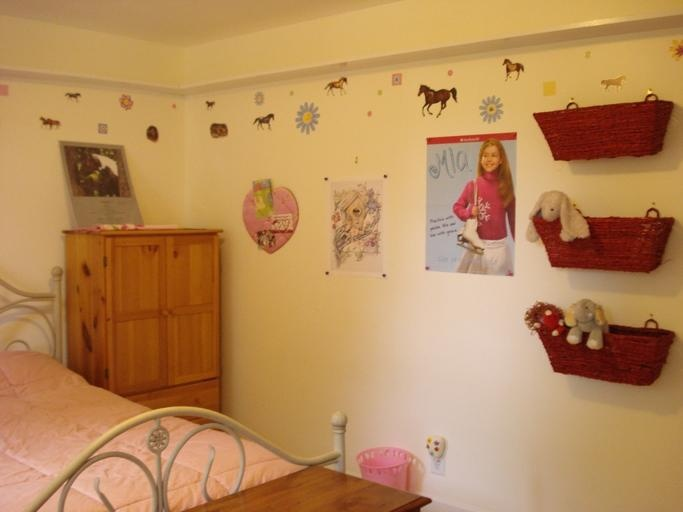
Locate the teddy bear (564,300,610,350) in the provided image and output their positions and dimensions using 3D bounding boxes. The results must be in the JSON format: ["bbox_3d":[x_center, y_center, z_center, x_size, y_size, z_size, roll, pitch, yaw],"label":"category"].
[{"bbox_3d":[1.270,0.344,2.657,0.186,0.217,0.258,0,4,37],"label":"teddy bear"}]

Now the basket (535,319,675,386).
[{"bbox_3d":[1.392,0.498,2.713,0.629,0.354,0.262,7,9,34],"label":"basket"}]

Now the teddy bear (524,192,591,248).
[{"bbox_3d":[1.138,-0.209,2.724,0.241,0.314,0.364,-25,15,-25],"label":"teddy bear"}]

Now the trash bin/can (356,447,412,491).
[{"bbox_3d":[0.269,1.380,3.264,0.356,0.235,0.286,3,8,12],"label":"trash bin/can"}]

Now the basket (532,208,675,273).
[{"bbox_3d":[1.343,-0.026,2.636,0.477,0.240,0.349,-3,-6,34],"label":"basket"}]
